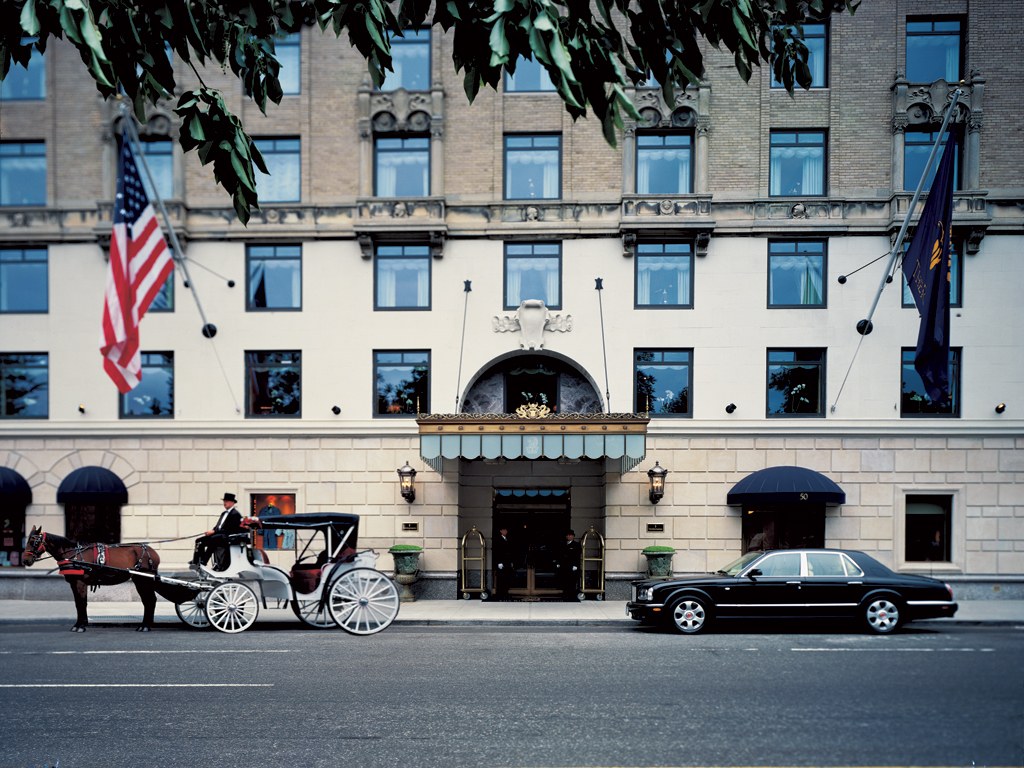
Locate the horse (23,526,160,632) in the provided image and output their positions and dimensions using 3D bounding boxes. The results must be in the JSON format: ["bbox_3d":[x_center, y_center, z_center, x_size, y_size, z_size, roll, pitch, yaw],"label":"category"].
[{"bbox_3d":[-10.777,5.189,69.143,3.526,2.606,1.058,3,-2,-17],"label":"horse"}]

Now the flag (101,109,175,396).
[{"bbox_3d":[-10.213,-2.853,71.475,1.002,8.214,1.270,4,-4,-41],"label":"flag"}]

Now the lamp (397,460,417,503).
[{"bbox_3d":[-2.859,2.787,74.156,0.515,1.152,0.653,1,-4,-3],"label":"lamp"}]

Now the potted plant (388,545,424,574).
[{"bbox_3d":[-2.881,4.908,73.484,0.793,0.727,0.800,1,-9,-11],"label":"potted plant"}]

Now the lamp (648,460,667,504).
[{"bbox_3d":[4.083,2.795,73.961,0.530,1.182,0.707,1,-4,3],"label":"lamp"}]

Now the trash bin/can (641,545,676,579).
[{"bbox_3d":[4.085,4.946,73.434,0.807,0.766,0.818,0,-8,0],"label":"trash bin/can"}]

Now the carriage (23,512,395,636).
[{"bbox_3d":[-7.049,4.917,68.625,8.307,3.144,1.788,1,-4,2],"label":"carriage"}]

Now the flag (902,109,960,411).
[{"bbox_3d":[11.392,-3.097,71.827,0.603,6.919,1.514,3,-4,-36],"label":"flag"}]
